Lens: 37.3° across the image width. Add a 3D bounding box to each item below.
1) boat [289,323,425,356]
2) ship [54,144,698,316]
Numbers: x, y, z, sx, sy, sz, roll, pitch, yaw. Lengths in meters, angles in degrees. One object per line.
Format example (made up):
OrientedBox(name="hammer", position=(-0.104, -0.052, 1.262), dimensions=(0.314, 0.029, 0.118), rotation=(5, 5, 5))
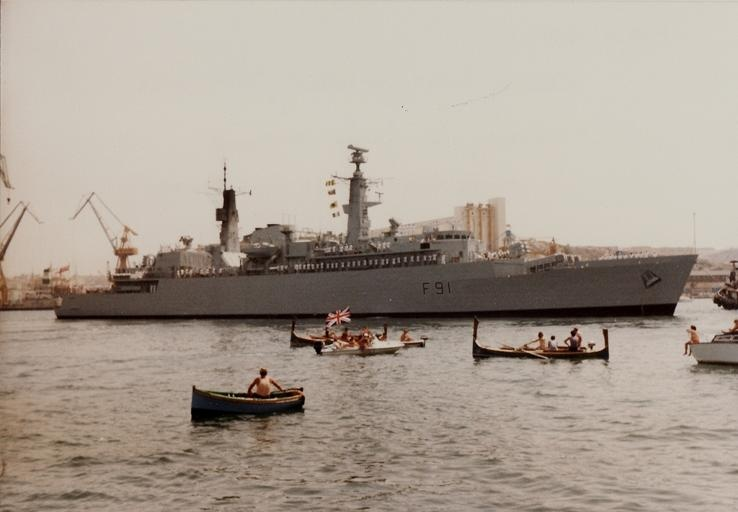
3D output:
OrientedBox(name="boat", position=(-0.569, 5.608, 74.294), dimensions=(9.080, 2.717, 1.742), rotation=(0, -6, 16))
OrientedBox(name="ship", position=(-2.391, -2.047, 97.159), dimensions=(64.785, 14.742, 10.959), rotation=(-3, -6, 40))
